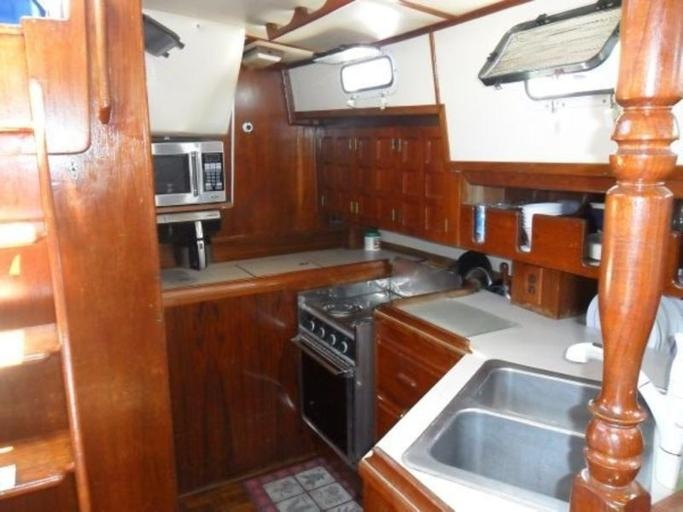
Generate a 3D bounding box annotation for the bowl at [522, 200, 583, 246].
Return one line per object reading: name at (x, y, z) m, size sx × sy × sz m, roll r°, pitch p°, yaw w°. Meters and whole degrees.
bowl at (0.903, -0.118, 2.161) m, size 0.216 × 0.138 × 0.214 m, roll -9°, pitch 6°, yaw 1°

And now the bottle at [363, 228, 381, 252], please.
bottle at (0.211, -0.109, 3.601) m, size 0.140 × 0.146 × 0.139 m, roll 0°, pitch 12°, yaw 2°

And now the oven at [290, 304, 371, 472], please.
oven at (0.078, 0.684, 2.897) m, size 0.543 × 0.759 × 0.607 m, roll -2°, pitch 13°, yaw -26°

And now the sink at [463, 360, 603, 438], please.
sink at (0.639, 0.471, 1.680) m, size 0.367 × 0.142 × 0.297 m, roll 14°, pitch 27°, yaw 37°

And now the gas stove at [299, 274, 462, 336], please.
gas stove at (0.136, 0.244, 2.963) m, size 0.514 × 0.310 × 0.511 m, roll -10°, pitch 18°, yaw -29°

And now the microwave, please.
microwave at (-0.866, -0.462, 2.796) m, size 0.501 × 0.366 × 0.299 m, roll -5°, pitch 10°, yaw -33°
